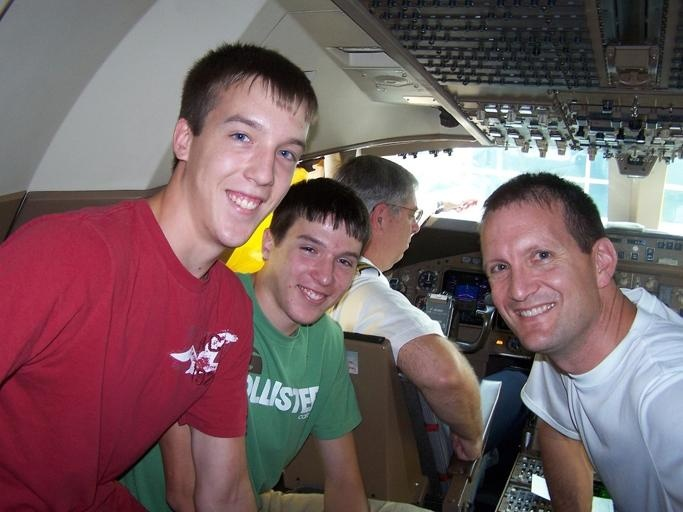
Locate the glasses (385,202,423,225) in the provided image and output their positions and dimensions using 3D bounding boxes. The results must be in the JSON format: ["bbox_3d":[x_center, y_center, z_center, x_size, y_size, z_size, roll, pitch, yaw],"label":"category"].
[{"bbox_3d":[0.333,-0.254,2.903,0.155,0.051,0.156,4,-6,15],"label":"glasses"}]

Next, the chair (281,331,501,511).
[{"bbox_3d":[0.158,0.629,2.381,0.657,0.966,0.753,3,3,16],"label":"chair"}]
